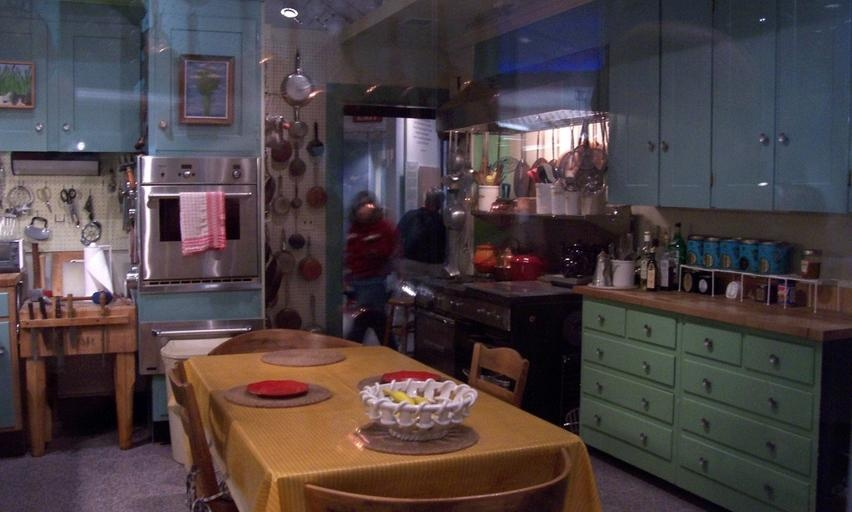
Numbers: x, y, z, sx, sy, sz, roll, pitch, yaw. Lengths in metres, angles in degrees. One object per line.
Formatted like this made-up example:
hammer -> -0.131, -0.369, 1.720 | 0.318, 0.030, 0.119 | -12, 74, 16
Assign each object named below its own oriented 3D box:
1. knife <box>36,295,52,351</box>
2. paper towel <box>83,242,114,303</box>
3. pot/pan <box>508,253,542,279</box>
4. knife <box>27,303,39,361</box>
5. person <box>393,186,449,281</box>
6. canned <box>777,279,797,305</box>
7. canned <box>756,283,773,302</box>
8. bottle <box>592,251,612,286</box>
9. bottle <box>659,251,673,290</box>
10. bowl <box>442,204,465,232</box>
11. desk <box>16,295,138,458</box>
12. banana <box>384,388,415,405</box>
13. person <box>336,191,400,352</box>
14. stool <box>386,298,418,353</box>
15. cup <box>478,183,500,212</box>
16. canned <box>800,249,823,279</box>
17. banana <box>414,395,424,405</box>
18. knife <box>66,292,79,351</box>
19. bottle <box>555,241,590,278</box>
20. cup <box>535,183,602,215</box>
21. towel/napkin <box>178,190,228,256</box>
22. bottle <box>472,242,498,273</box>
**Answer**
knife -> -2.439, 0.420, 4.118 | 0.095, 0.376, 0.028 | -7, -1, -28
paper towel -> -2.303, 0.125, 4.531 | 0.244, 0.367, 0.208 | -7, -6, 40
pot/pan -> 0.739, 0.076, 4.781 | 0.196, 0.163, 0.195 | 2, 2, 40
knife -> -2.499, 0.480, 4.065 | 0.064, 0.360, 0.040 | -1, 3, -28
person -> -0.042, -0.180, 5.341 | 0.514, 0.734, 0.214 | -6, 8, -32
canned -> 1.994, 0.204, 3.540 | 0.045, 0.139, 0.084 | -6, 8, -29
canned -> 1.920, 0.212, 3.625 | 0.122, 0.107, 0.087 | 0, 0, -34
bottle -> 1.148, 0.086, 4.173 | 0.122, 0.216, 0.131 | -2, 7, 0
bottle -> 1.521, 0.085, 4.039 | 0.086, 0.215, 0.079 | -2, 7, 0
bowl -> 0.245, -0.332, 5.361 | 0.204, 0.196, 0.148 | 1, 1, 18
desk -> -2.416, 0.875, 4.301 | 0.872, 0.926, 0.799 | -1, -14, -31
banana -> -0.093, 0.555, 2.527 | 0.140, 0.042, 0.045 | 14, 32, 40
person -> -0.521, 0.159, 5.079 | 0.548, 1.466, 0.499 | 2, 27, -13
stool -> -0.183, 0.594, 5.387 | 0.340, 0.428, 0.332 | 5, 5, -2
cup -> 0.497, -0.472, 5.120 | 0.198, 0.192, 0.209 | 1, 1, 0
canned -> 2.123, 0.043, 3.542 | 0.097, 0.152, 0.116 | -8, 9, -39
banana -> -0.024, 0.561, 2.505 | 0.023, 0.017, 0.031 | 3, 6, -44
knife -> -2.268, 0.426, 4.144 | 0.075, 0.339, 0.063 | -4, -3, -7
bottle -> 1.049, 0.030, 4.581 | 0.243, 0.208, 0.220 | 1, 1, -1
cup -> 1.008, -0.387, 4.599 | 0.243, 0.142, 0.326 | 0, -1, -38
towel/napkin -> -1.573, -0.246, 4.262 | 0.148, 0.412, 0.531 | 19, 15, 23
bottle -> 0.480, 0.015, 5.148 | 0.249, 0.237, 0.196 | 0, -8, 11
